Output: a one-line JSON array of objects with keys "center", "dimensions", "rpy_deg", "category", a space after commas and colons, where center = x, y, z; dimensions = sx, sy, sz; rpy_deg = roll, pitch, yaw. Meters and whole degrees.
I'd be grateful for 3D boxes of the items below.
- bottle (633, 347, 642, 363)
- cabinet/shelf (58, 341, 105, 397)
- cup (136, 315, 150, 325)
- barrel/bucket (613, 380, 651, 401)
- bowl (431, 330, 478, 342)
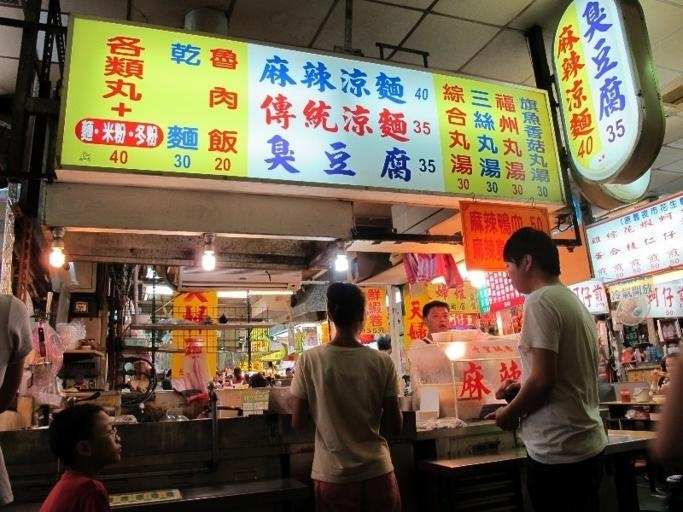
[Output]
[{"center": [5.337, 1.801, 9.481], "dimensions": [0.198, 0.283, 0.101], "rpy_deg": [10, -9, -36], "category": "bottle"}, {"center": [-3.534, 1.568, 7.270], "dimensions": [0.550, 0.530, 0.421], "rpy_deg": [0, -1, -16], "category": "cabinet/shelf"}, {"center": [-3.041, 0.954, 8.069], "dimensions": [0.167, 0.132, 0.438], "rpy_deg": [-2, -10, -7], "category": "cup"}, {"center": [4.071, 1.898, 7.394], "dimensions": [0.360, 0.200, 0.502], "rpy_deg": [10, -18, -35], "category": "barrel/bucket"}, {"center": [0.995, 0.680, 4.444], "dimensions": [0.546, 0.091, 0.272], "rpy_deg": [4, -12, -39], "category": "bowl"}]
